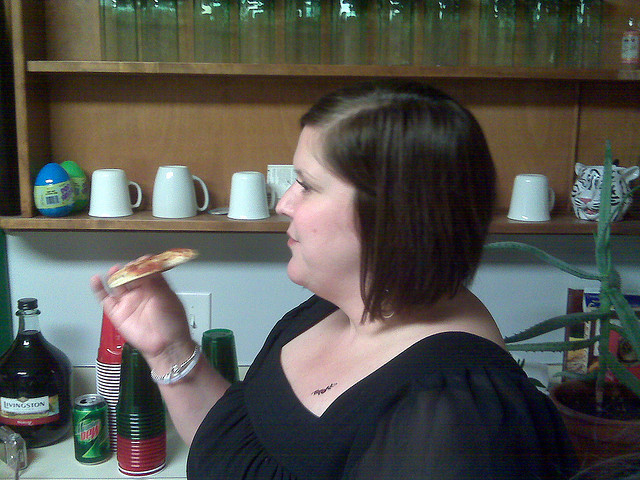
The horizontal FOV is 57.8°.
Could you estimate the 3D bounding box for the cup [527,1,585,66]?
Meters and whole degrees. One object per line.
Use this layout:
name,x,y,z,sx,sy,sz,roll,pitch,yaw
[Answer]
cup,0.414,-0.362,1.031,0.089,0.127,0.125,-1,11,18

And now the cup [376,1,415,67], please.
cup,0.151,-0.407,1.163,0.077,0.135,0.075,-5,11,1

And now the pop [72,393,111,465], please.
pop,-0.501,0.417,1.289,0.063,0.141,0.064,-1,12,17

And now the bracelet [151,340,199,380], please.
bracelet,-0.258,0.226,1.078,0.070,0.016,0.069,-33,19,-3

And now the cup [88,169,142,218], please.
cup,-0.493,-0.109,1.443,0.160,0.103,0.113,2,0,-7

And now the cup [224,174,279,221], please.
cup,-0.172,-0.104,1.401,0.147,0.094,0.112,-2,10,-29

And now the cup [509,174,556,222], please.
cup,0.472,-0.090,1.330,0.132,0.095,0.095,-3,4,-5

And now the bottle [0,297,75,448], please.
bottle,-0.666,0.304,1.346,0.135,0.335,0.117,-7,12,-9

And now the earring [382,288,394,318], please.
earring,0.095,0.088,0.817,0.016,0.052,0.035,-4,11,6

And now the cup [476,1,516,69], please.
cup,0.334,-0.388,1.107,0.072,0.138,0.085,-2,11,14

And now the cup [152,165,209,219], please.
cup,-0.352,-0.116,1.427,0.161,0.105,0.108,1,10,-17

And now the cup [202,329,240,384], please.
cup,-0.231,0.271,1.344,0.104,0.115,0.089,6,12,25
